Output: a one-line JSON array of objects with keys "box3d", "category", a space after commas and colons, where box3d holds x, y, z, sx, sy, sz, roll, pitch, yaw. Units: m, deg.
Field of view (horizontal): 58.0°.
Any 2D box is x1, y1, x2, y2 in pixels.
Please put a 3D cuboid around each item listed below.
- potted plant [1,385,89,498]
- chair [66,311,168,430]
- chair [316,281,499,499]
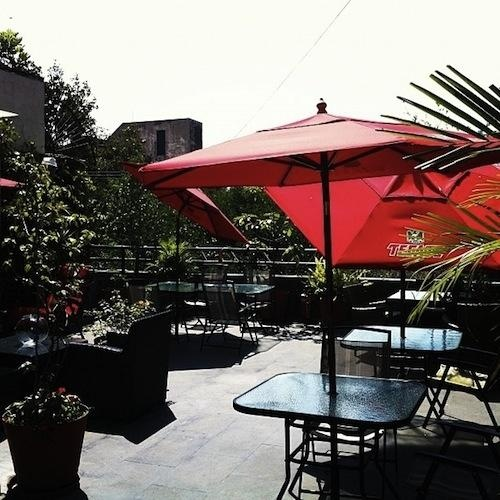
[{"box3d": [-1.156, 1.120, 2.748, 0.493, 0.430, 0.556, 0, -8, -5], "category": "potted plant"}, {"box3d": [-1.165, 0.933, 4.198, 0.767, 1.044, 1.083, 2, -1, 20], "category": "chair"}, {"box3d": [1.385, 1.130, 4.020, 1.408, 1.493, 1.085, 1, 5, 28], "category": "chair"}]
